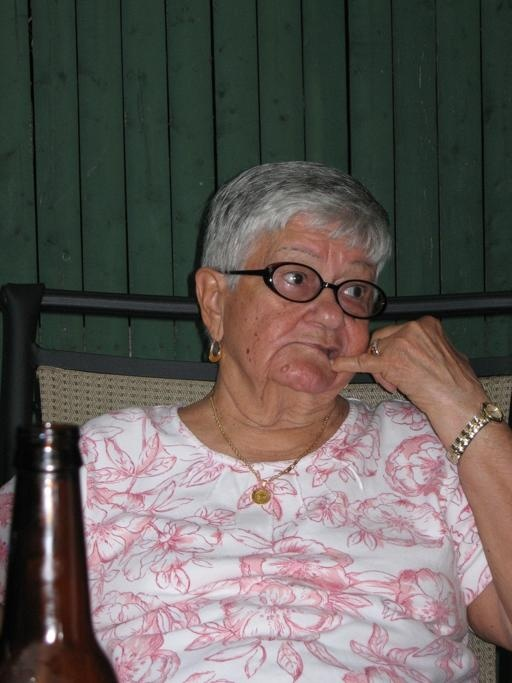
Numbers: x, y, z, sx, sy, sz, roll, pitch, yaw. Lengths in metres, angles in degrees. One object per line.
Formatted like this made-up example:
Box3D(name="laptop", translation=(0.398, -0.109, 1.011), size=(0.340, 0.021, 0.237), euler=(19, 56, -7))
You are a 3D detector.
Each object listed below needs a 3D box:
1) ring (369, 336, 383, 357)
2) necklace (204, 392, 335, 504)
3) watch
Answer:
Box3D(name="ring", translation=(0.245, 0.008, 1.363), size=(0.017, 0.039, 0.031), euler=(3, -5, -9))
Box3D(name="necklace", translation=(0.032, 0.211, 1.276), size=(0.218, 0.221, 0.020), euler=(9, -30, -1))
Box3D(name="watch", translation=(0.401, 0.162, 1.221), size=(0.087, 0.045, 0.094), euler=(-37, -21, -14))
